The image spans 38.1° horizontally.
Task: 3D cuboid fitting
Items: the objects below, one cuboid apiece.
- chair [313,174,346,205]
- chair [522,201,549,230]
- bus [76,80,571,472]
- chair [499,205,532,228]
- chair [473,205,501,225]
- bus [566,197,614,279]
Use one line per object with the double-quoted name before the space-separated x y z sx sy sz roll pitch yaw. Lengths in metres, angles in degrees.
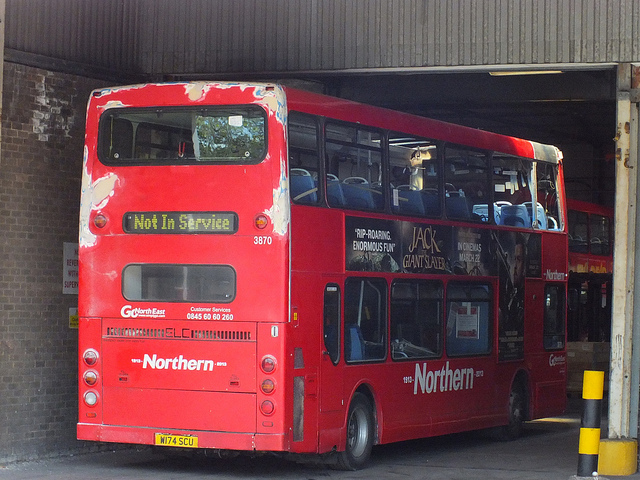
"chair" 0.129 -0.758 14.075 0.331 0.581 0.477 0 4 14
"chair" 4.420 -0.507 19.202 0.592 0.793 0.413 -3 3 -24
"bus" 0.939 0.877 16.809 2.891 5.983 10.958 -1 -1 41
"chair" 3.855 -0.475 18.313 0.456 0.559 0.516 1 2 16
"chair" 3.069 -0.531 17.340 0.339 0.386 0.483 1 -1 37
"bus" 9.101 -0.046 31.394 0.845 2.490 3.493 0 -1 36
